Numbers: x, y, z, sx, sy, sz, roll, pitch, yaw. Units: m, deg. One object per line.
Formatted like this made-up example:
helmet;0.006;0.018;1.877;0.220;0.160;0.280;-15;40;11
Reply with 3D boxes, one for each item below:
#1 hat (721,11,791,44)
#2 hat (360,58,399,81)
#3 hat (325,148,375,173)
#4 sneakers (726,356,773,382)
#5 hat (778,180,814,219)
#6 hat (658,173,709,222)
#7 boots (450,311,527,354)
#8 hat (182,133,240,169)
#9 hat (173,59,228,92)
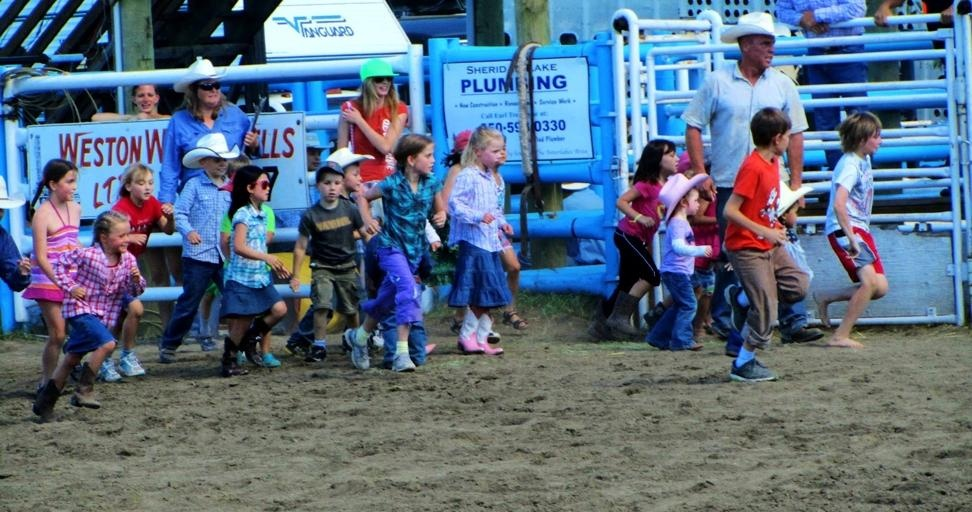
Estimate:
hat;2.704;-2.387;16.489;0.562;0.281;0.308;2;4;43
hat;-1.190;-2.009;17.148;0.340;0.233;0.243;-1;3;-4
hat;-1.458;-1.010;16.689;0.455;0.252;0.382;-1;3;-5
sneakers;2.642;1.142;15.776;0.382;0.188;0.210;1;2;9
hat;3.050;-0.586;15.881;0.413;0.315;0.266;-21;-3;-8
hat;2.058;-0.617;16.528;0.502;0.477;0.422;-1;3;9
boots;-0.024;0.854;16.948;0.630;0.486;0.237;11;-3;39
hat;-2.939;-1.109;16.784;0.463;0.195;0.392;-22;-18;29
hat;-3.139;-1.960;17.012;0.351;0.165;0.412;-4;-9;-42
